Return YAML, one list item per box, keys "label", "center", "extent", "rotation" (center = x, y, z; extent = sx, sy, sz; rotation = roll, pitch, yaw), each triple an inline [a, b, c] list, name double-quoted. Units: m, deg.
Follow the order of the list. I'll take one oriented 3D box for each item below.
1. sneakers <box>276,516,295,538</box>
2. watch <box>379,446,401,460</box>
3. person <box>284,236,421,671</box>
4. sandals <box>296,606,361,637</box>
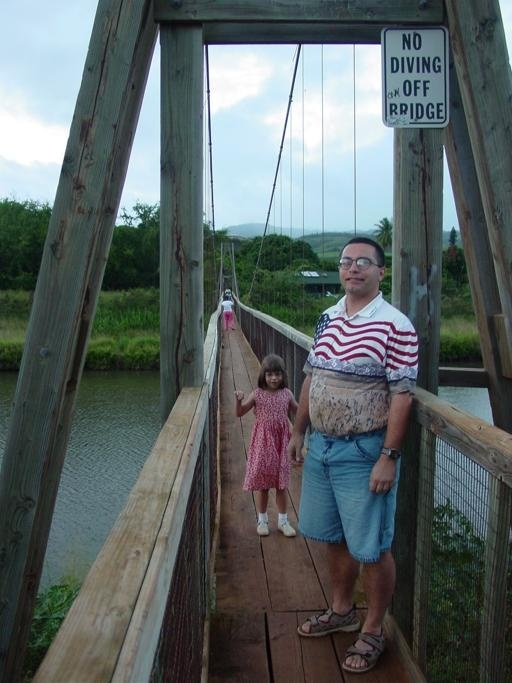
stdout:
- label: "sneakers"
  center: [0.173, 1.056, 2.855]
  extent: [0.044, 0.127, 0.159]
  rotation: [-1, -20, -11]
- label: "watch"
  center: [0.445, 0.372, 1.653]
  extent: [0.059, 0.050, 0.039]
  rotation: [-6, 3, 12]
- label: "person"
  center: [0.346, 0.399, 1.867]
  extent: [0.239, 1.554, 0.341]
  rotation: [-2, 4, -37]
- label: "sandals"
  center: [0.298, 1.086, 2.016]
  extent: [0.224, 0.171, 0.115]
  rotation: [1, 0, -2]
